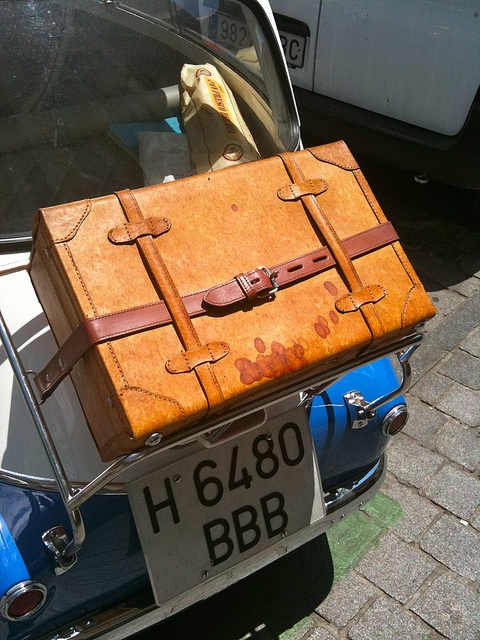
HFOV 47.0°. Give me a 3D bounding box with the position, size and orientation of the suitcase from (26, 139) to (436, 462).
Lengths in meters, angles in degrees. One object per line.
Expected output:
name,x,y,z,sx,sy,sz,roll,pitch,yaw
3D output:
suitcase,-0.008,-0.087,1.271,0.952,0.465,0.470,-26,42,-24
